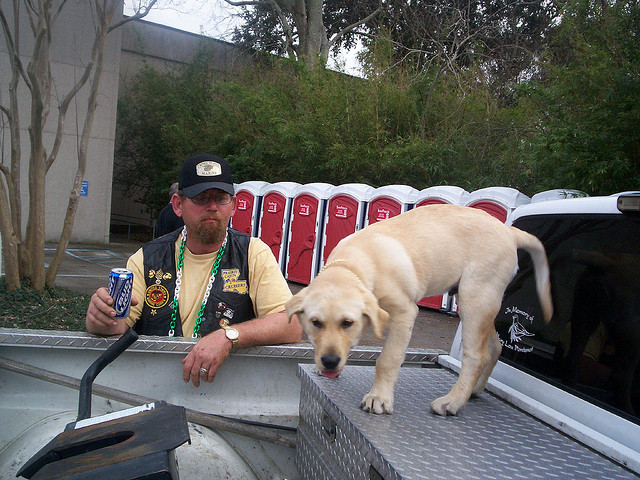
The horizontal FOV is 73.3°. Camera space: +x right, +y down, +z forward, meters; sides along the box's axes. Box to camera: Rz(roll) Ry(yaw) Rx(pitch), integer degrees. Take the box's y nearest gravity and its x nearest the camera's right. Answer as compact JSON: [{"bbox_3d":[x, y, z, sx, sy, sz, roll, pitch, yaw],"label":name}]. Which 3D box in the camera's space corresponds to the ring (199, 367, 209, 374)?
[{"bbox_3d":[-0.660,0.738,2.404,0.028,0.017,0.039,15,-19,6],"label":"ring"}]

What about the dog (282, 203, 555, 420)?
[{"bbox_3d":[0.547,0.360,2.135,1.346,0.988,0.532,-6,5,-13],"label":"dog"}]
